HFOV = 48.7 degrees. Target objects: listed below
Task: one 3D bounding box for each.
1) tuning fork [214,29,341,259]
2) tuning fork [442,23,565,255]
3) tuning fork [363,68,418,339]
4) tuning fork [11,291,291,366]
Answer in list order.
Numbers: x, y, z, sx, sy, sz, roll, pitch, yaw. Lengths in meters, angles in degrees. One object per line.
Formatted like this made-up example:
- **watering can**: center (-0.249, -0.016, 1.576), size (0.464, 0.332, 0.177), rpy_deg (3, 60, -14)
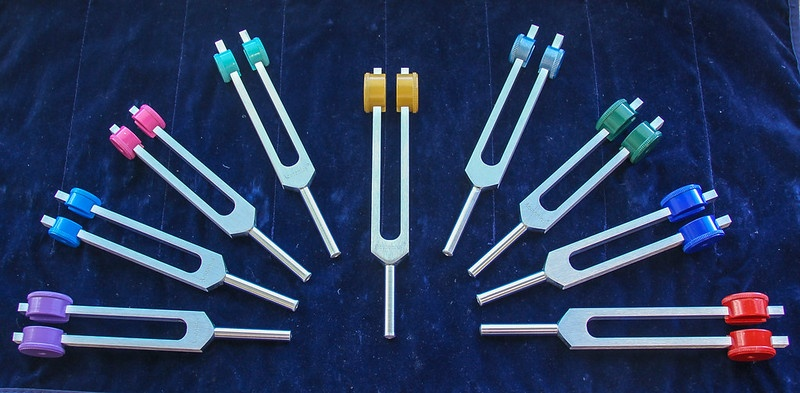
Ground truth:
- **tuning fork**: center (-0.873, -0.424, 6.525), size (0.769, 1.065, 1.815), rpy_deg (1, 95, -14)
- **tuning fork**: center (0.810, -0.604, 6.662), size (0.542, 0.304, 2.232), rpy_deg (27, 81, 9)
- **tuning fork**: center (-0.073, -0.006, 6.185), size (0.436, 0.247, 1.837), rpy_deg (-1, 81, 1)
- **tuning fork**: center (-1.828, 0.957, 6.200), size (1.672, 0.261, 0.400), rpy_deg (4, 62, -1)
